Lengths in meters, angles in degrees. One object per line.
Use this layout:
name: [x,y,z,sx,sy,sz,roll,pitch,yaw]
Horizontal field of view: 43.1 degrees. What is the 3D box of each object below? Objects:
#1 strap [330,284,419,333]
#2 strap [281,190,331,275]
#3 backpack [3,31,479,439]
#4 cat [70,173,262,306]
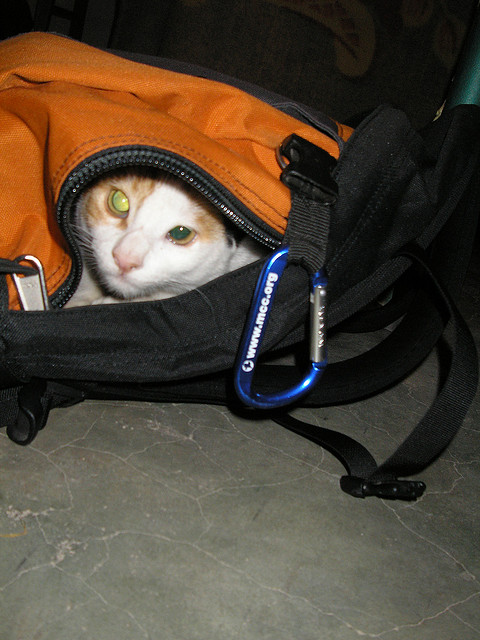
strap: [0.210,-0.006,0.946,0.116,0.027,0.088,-18,16,-11]
strap: [0.055,-0.073,0.516,0.053,0.056,0.037,22,32,-8]
backpack: [-0.016,-0.025,0.682,0.554,0.204,0.411,8,60,-9]
cat: [-0.078,-0.093,0.654,0.217,0.073,0.145,5,16,-32]
